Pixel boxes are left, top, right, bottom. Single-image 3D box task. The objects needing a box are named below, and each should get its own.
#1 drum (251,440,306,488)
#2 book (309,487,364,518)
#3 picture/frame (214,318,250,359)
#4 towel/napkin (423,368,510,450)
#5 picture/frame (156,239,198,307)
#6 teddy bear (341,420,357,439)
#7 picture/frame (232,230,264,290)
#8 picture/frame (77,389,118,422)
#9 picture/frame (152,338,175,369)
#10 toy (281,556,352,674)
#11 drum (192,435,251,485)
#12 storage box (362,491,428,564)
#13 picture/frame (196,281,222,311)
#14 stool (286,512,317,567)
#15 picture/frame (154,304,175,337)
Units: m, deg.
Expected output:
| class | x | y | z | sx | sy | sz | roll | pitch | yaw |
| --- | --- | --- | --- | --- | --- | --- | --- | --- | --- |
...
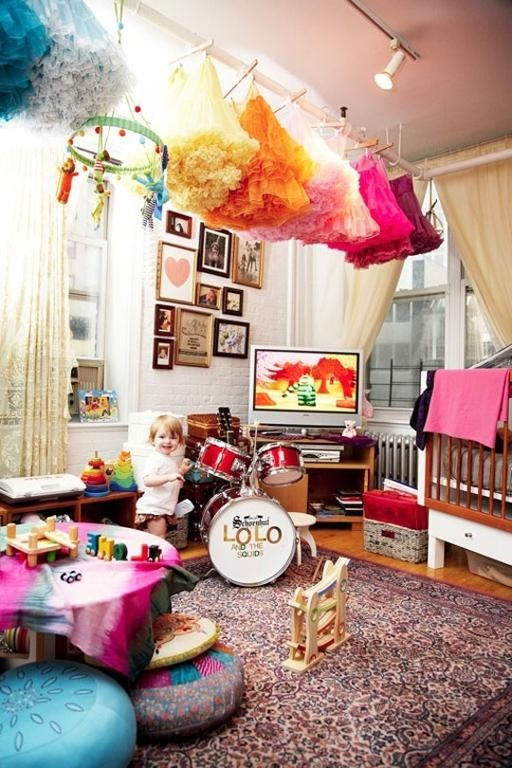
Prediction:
| class | x | y | z | sx | sy | sz | roll | pitch | yaw |
| --- | --- | --- | --- | --- | --- | --- | --- | --- | --- |
| drum | 0.112 | 0.377 | 2.656 | 0.223 | 0.164 | 0.224 | -3 | -23 | -1 |
| book | 0.567 | 0.864 | 3.951 | 0.372 | 0.144 | 0.404 | 1 | -1 | -1 |
| picture/frame | -0.197 | -0.338 | 4.042 | 0.025 | 0.269 | 0.317 | 3 | 3 | 40 |
| towel/napkin | 1.041 | 0.123 | 2.664 | 0.113 | 0.313 | 0.419 | 9 | -1 | -15 |
| picture/frame | -0.534 | -0.742 | 3.629 | 0.039 | 0.407 | 0.409 | 8 | 8 | 33 |
| teddy bear | 0.674 | 0.326 | 3.921 | 0.113 | 0.124 | 0.114 | 1 | -7 | -6 |
| picture/frame | -0.048 | -0.928 | 4.169 | 0.078 | 0.362 | 0.376 | 0 | -2 | 40 |
| picture/frame | -0.972 | 0.138 | 3.275 | 0.016 | 0.172 | 0.205 | -21 | -10 | 31 |
| picture/frame | -0.617 | -0.199 | 3.542 | 0.021 | 0.234 | 0.203 | 2 | 2 | 33 |
| toy | 0.224 | 0.808 | 1.928 | 0.096 | 0.299 | 0.328 | 4 | 4 | 39 |
| drum | -0.156 | 0.358 | 2.632 | 0.216 | 0.133 | 0.217 | 22 | -11 | 4 |
| storage box | 0.806 | 0.833 | 3.099 | 0.373 | 0.365 | 0.208 | 6 | 10 | 45 |
| picture/frame | -0.349 | -0.623 | 3.854 | 0.023 | 0.167 | 0.230 | 6 | 7 | 41 |
| stool | 0.230 | 0.860 | 3.007 | 0.191 | 0.183 | 0.180 | 4 | -6 | 7 |
| picture/frame | -0.608 | -0.415 | 3.536 | 0.027 | 0.259 | 0.212 | 2 | 3 | 36 |
